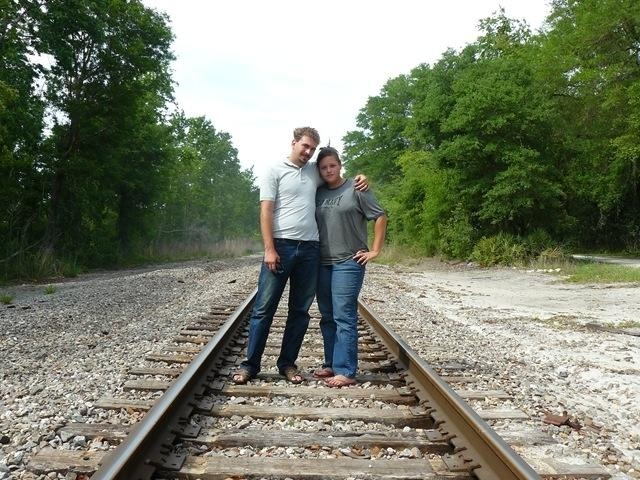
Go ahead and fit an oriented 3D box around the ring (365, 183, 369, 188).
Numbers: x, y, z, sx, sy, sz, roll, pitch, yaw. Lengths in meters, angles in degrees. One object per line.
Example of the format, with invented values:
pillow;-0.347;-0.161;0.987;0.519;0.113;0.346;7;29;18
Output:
ring;0.470;-0.537;4.614;0.031;0.039;0.011;5;8;11

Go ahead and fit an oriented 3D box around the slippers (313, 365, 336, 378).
slippers;0.042;1.321;4.730;0.236;0.094;0.082;6;-7;0

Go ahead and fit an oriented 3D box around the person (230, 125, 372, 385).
person;-0.377;0.145;4.623;0.865;2.211;0.390;-3;1;-4

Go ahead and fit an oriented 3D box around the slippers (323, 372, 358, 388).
slippers;0.204;1.319;4.452;0.222;0.084;0.117;8;-18;-2

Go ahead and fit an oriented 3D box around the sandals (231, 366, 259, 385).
sandals;-0.723;1.291;4.530;0.156;0.142;0.357;-3;1;21
